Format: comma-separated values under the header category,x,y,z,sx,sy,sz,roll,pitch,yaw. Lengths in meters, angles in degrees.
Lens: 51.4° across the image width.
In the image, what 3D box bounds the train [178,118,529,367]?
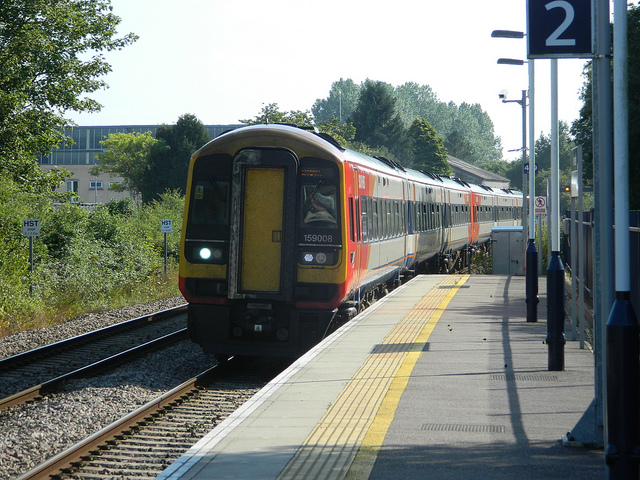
category,x,y,z,sx,sy,sz,roll,pitch,yaw
train,2.518,-0.499,21.764,2.254,4.586,21.621,1,3,19
